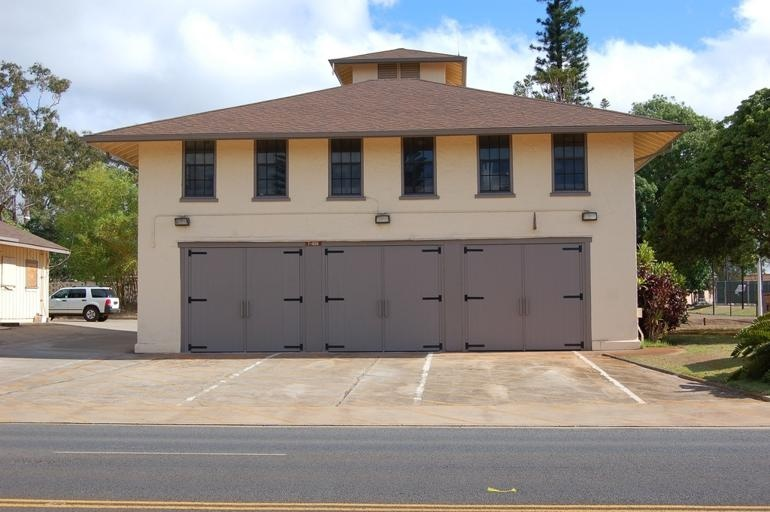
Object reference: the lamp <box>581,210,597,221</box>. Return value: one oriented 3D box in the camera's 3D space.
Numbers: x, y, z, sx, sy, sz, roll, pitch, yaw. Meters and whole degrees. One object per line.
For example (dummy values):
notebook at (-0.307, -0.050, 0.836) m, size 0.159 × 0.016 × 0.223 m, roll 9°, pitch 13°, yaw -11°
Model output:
lamp at (7.242, -1.437, 30.612) m, size 0.586 × 0.373 × 0.316 m, roll 0°, pitch 0°, yaw 7°

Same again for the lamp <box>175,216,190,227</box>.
lamp at (-7.224, -1.275, 31.082) m, size 0.534 × 0.351 × 0.363 m, roll 1°, pitch -5°, yaw -10°

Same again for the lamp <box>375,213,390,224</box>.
lamp at (-0.043, -1.464, 31.054) m, size 0.617 × 0.370 × 0.330 m, roll 0°, pitch 4°, yaw 1°

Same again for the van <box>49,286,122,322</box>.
van at (-17.894, 2.810, 51.671) m, size 4.004 × 1.673 × 1.865 m, roll 2°, pitch -4°, yaw 5°
